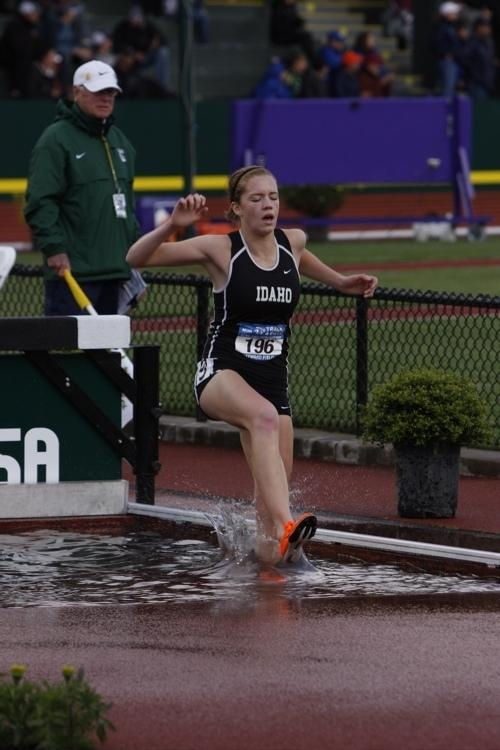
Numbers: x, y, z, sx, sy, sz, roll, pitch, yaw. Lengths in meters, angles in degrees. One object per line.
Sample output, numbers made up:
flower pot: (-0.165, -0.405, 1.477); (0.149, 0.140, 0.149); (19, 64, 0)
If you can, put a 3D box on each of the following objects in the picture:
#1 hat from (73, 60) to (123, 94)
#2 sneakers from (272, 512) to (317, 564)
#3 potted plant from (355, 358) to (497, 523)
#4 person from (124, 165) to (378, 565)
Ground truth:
hat: (-0.905, -1.696, 6.677); (0.202, 0.140, 0.262); (0, 3, -22)
sneakers: (0.202, 0.648, 4.704); (0.113, 0.276, 0.121); (3, 48, -25)
potted plant: (0.931, 0.360, 6.259); (0.845, 0.819, 0.729); (-1, -2, -5)
person: (0.043, -0.066, 5.164); (0.841, 1.748, 1.062); (2, 4, 28)
